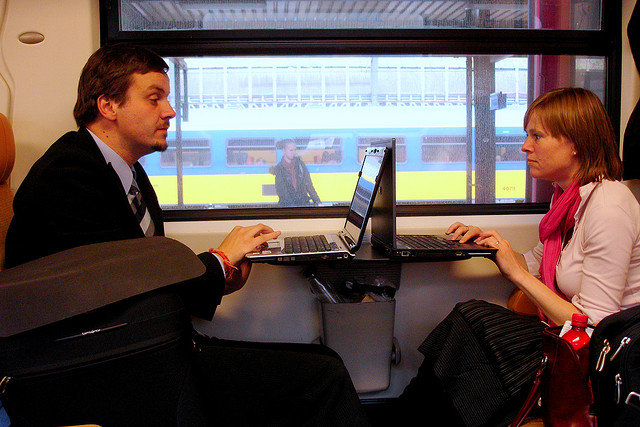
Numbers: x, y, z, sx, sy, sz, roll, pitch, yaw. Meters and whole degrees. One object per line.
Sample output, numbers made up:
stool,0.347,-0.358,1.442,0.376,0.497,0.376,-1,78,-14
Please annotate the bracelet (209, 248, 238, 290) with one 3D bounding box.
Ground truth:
bracelet,-0.364,0.221,1.967,0.091,0.214,0.194,-6,12,-10

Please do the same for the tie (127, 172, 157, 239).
tie,-0.731,-0.051,2.135,0.079,0.307,0.027,5,27,31

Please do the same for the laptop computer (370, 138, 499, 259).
laptop computer,0.458,-0.078,2.201,0.479,0.497,0.454,-3,12,2

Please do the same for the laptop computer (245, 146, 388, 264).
laptop computer,-0.026,-0.059,2.266,0.605,0.460,0.555,0,5,4

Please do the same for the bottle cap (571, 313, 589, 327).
bottle cap,0.838,0.344,1.657,0.044,0.031,0.044,1,6,4

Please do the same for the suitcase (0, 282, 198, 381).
suitcase,-0.578,0.315,1.328,0.310,0.082,0.301,-19,4,-9

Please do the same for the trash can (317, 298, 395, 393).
trash can,0.155,0.600,2.572,0.398,0.538,0.411,-2,3,-10

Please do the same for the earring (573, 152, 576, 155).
earring,1.022,-0.241,2.065,0.006,0.006,0.009,4,13,-13
